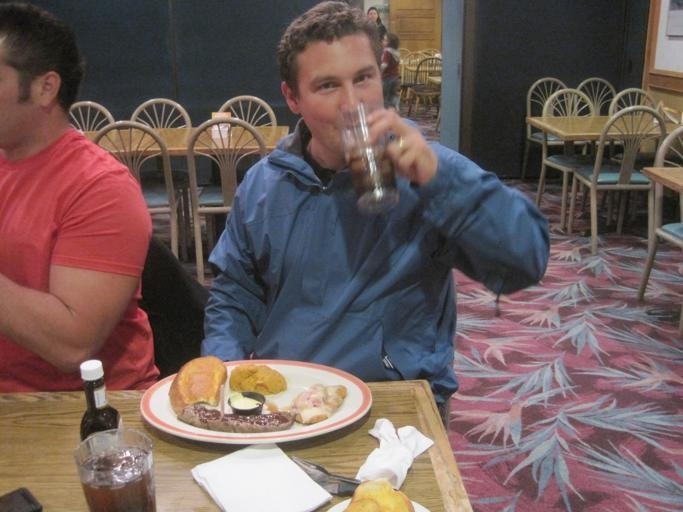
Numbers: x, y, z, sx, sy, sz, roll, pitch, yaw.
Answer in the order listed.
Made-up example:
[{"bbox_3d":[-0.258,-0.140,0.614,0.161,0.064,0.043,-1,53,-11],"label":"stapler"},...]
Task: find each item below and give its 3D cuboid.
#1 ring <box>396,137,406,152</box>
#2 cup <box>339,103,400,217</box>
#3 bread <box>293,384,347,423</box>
[{"bbox_3d":[0.113,-0.213,1.067,0.022,0.021,0.005,-7,13,-12],"label":"ring"},{"bbox_3d":[0.055,-0.184,1.074,0.105,0.203,0.105,-2,14,1],"label":"cup"},{"bbox_3d":[-0.051,0.302,1.202,0.069,0.031,0.084,5,27,42],"label":"bread"}]
